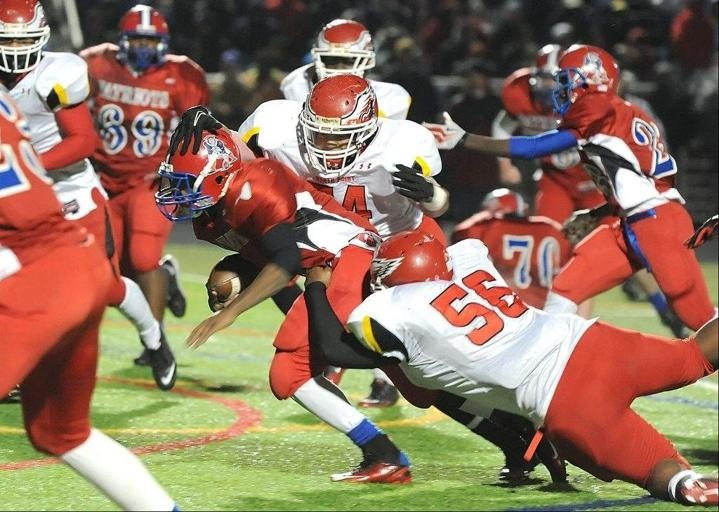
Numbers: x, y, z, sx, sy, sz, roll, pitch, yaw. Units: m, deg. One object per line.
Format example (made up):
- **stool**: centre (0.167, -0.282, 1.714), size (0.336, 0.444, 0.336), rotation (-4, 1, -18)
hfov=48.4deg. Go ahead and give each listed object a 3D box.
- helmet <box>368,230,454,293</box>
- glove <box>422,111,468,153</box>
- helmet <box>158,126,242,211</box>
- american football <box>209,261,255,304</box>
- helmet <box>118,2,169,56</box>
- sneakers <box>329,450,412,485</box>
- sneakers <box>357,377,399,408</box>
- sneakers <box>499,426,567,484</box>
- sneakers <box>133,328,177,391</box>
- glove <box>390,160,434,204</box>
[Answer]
- **helmet**: centre (0.195, 0.043, 2.940), size (0.210, 0.229, 0.254), rotation (-13, 33, -37)
- **glove**: centre (0.429, -0.601, 4.116), size (0.241, 0.058, 0.213), rotation (2, 50, -8)
- **helmet**: centre (-0.642, -0.333, 3.223), size (0.375, 0.274, 0.269), rotation (-30, 16, -7)
- **american football**: centre (-0.555, 0.123, 3.516), size (0.250, 0.196, 0.198), rotation (-7, 3, -25)
- **helmet**: centre (-1.422, -1.496, 5.267), size (0.281, 0.290, 0.338), rotation (-1, 28, -15)
- **sneakers**: centre (0.024, 0.838, 3.212), size (0.369, 0.137, 0.115), rotation (2, -5, -1)
- **sneakers**: centre (0.104, 0.753, 4.402), size (0.107, 0.116, 0.279), rotation (-2, -7, 22)
- **sneakers**: centre (0.730, 0.823, 3.288), size (0.276, 0.289, 0.155), rotation (5, 27, -7)
- **sneakers**: centre (-1.051, 0.552, 4.201), size (0.126, 0.336, 0.148), rotation (-20, 11, 16)
- **glove**: centre (0.231, -0.304, 3.399), size (0.146, 0.184, 0.063), rotation (-41, 5, -20)
